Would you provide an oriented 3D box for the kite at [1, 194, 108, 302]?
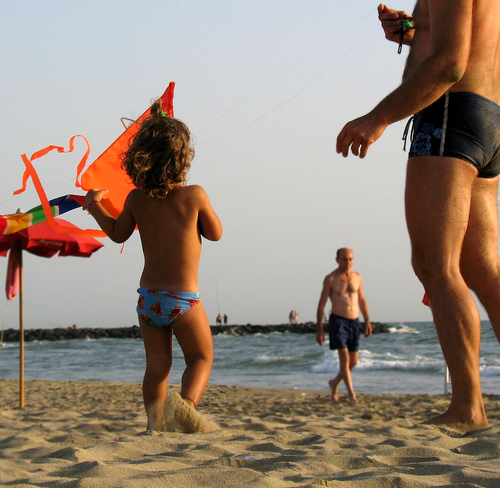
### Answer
[{"bbox_3d":[-1.631,-0.073,7.841,0.777,0.641,0.763,6,11,31],"label":"kite"}]

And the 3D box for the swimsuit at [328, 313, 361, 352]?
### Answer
[{"bbox_3d":[0.941,0.820,9.057,0.312,0.332,0.203,3,10,29],"label":"swimsuit"}]

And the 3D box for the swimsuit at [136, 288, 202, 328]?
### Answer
[{"bbox_3d":[-0.407,0.336,5.181,0.424,0.230,0.429,2,-6,10],"label":"swimsuit"}]

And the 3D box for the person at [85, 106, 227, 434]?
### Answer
[{"bbox_3d":[-0.481,0.146,5.413,0.601,1.718,0.359,-9,-10,34],"label":"person"}]
